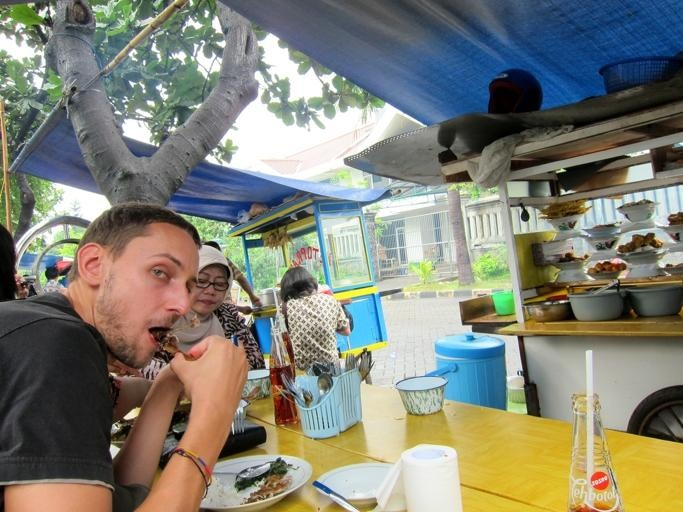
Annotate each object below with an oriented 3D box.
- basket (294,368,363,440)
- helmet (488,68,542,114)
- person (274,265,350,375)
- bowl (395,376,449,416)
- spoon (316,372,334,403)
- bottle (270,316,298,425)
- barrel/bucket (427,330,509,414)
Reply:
[{"bbox_3d":[-0.058,0.784,2.541,0.311,0.279,0.380,-4,-1,21],"label":"basket"},{"bbox_3d":[1.604,-1.464,4.353,0.442,0.448,0.522,6,6,24],"label":"helmet"},{"bbox_3d":[-0.297,0.730,5.504,0.571,1.299,0.724,-2,1,-23],"label":"person"},{"bbox_3d":[0.496,0.782,2.560,0.289,0.130,0.291,-10,-15,-3],"label":"bowl"},{"bbox_3d":[-0.089,0.684,2.421,0.054,0.148,0.022,12,1,35],"label":"spoon"},{"bbox_3d":[-0.339,0.665,2.722,0.232,0.561,0.225,-5,-1,0],"label":"bottle"},{"bbox_3d":[1.257,0.955,4.295,0.695,0.798,0.686,6,3,0],"label":"barrel/bucket"}]
